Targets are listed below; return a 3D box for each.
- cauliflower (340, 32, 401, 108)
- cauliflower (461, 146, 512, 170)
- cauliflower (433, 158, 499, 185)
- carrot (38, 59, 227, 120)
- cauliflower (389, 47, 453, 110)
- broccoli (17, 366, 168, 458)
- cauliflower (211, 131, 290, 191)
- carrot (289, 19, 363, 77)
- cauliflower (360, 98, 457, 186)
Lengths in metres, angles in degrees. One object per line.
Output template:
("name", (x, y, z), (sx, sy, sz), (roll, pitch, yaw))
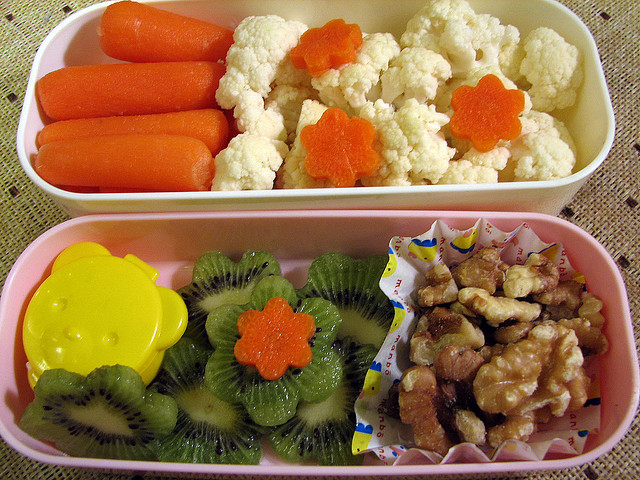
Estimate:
("cauliflower", (0.182, -0.514, 2.056), (0.209, 0.230, 0.238), (-4, 81, 9))
("cauliflower", (0.537, -0.258, 1.979), (0.084, 0.028, 0.091), (2, 54, 5))
("cauliflower", (0.461, -0.217, 1.928), (0.120, 0.077, 0.172), (1, 18, 2))
("carrot", (-0.633, -0.505, 2.098), (0.525, 0.150, 0.170), (-7, 93, 2))
("cauliflower", (0.318, -0.523, 2.037), (0.240, 0.177, 0.179), (-8, 28, -6))
("broccoli", (-0.647, 0.494, 1.737), (0.306, 0.310, 0.087), (26, 36, -22))
("cauliflower", (-0.235, -0.249, 1.951), (0.220, 0.088, 0.183), (-2, 78, -1))
("carrot", (0.023, -0.616, 1.979), (0.234, 0.098, 0.154), (-22, 79, -5))
("cauliflower", (0.274, -0.294, 1.961), (0.267, 0.109, 0.289), (14, 92, 4))
